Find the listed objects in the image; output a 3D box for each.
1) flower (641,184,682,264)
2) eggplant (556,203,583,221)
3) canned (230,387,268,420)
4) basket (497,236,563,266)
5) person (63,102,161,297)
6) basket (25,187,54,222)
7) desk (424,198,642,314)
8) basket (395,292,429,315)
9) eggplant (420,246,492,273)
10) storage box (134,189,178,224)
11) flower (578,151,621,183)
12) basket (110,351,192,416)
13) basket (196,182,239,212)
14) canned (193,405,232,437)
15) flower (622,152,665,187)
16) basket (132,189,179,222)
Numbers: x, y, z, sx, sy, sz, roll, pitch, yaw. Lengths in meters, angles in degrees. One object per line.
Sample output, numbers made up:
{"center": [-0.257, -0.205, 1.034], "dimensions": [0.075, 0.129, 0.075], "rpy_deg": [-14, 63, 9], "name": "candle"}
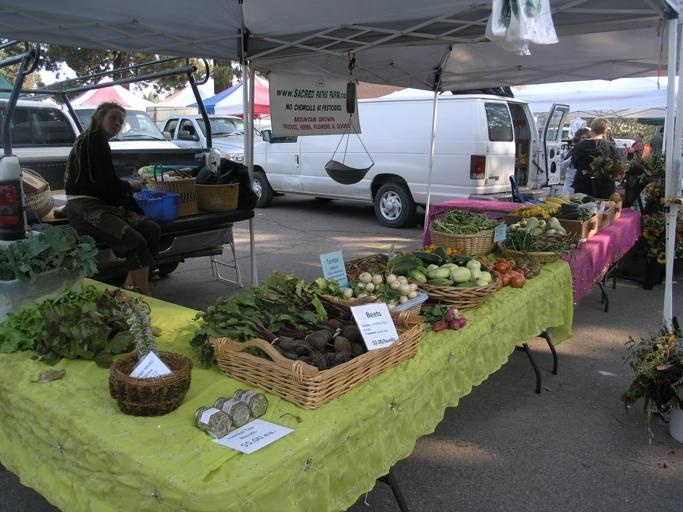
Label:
{"center": [4.262, -0.446, 6.253], "dimensions": [0.549, 1.086, 0.670], "rpy_deg": [7, 16, 28], "name": "flower"}
{"center": [2.369, -0.491, 4.940], "dimensions": [0.178, 0.092, 0.246], "rpy_deg": [-3, 22, 25], "name": "eggplant"}
{"center": [-0.357, 0.608, 2.022], "dimensions": [0.135, 0.106, 0.186], "rpy_deg": [-6, 4, -41], "name": "canned"}
{"center": [1.633, -0.085, 4.154], "dimensions": [0.515, 0.185, 0.501], "rpy_deg": [10, 14, 40], "name": "basket"}
{"center": [-2.137, -0.620, 4.771], "dimensions": [1.135, 1.822, 1.014], "rpy_deg": [-8, 24, -41], "name": "person"}
{"center": [-2.909, -0.512, 4.487], "dimensions": [0.136, 0.300, 0.257], "rpy_deg": [35, 21, 24], "name": "basket"}
{"center": [1.770, -0.039, 4.339], "dimensions": [1.293, 0.948, 3.035], "rpy_deg": [12, 18, 40], "name": "desk"}
{"center": [0.434, 0.285, 2.910], "dimensions": [0.173, 0.053, 0.122], "rpy_deg": [-14, 8, 18], "name": "basket"}
{"center": [0.779, 0.000, 3.512], "dimensions": [0.352, 0.088, 0.243], "rpy_deg": [4, 9, 3], "name": "eggplant"}
{"center": [-1.939, -0.548, 5.027], "dimensions": [0.344, 0.189, 0.249], "rpy_deg": [10, 20, 36], "name": "storage box"}
{"center": [3.752, -1.307, 6.707], "dimensions": [0.443, 0.387, 0.344], "rpy_deg": [2, 14, 12], "name": "flower"}
{"center": [-0.825, 0.540, 2.032], "dimensions": [0.330, 0.182, 0.292], "rpy_deg": [11, 17, 40], "name": "basket"}
{"center": [-1.461, -0.712, 5.519], "dimensions": [0.419, 0.214, 0.423], "rpy_deg": [3, 5, 43], "name": "basket"}
{"center": [-0.512, 0.642, 1.855], "dimensions": [0.150, 0.097, 0.088], "rpy_deg": [6, 15, 27], "name": "canned"}
{"center": [4.058, -1.186, 6.339], "dimensions": [0.481, 0.229, 0.429], "rpy_deg": [-14, 15, -14], "name": "flower"}
{"center": [-1.967, -0.547, 4.961], "dimensions": [0.463, 0.218, 0.332], "rpy_deg": [11, 19, 41], "name": "basket"}
